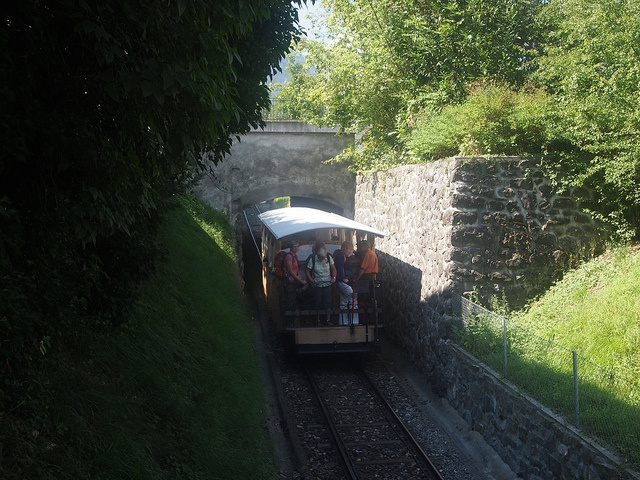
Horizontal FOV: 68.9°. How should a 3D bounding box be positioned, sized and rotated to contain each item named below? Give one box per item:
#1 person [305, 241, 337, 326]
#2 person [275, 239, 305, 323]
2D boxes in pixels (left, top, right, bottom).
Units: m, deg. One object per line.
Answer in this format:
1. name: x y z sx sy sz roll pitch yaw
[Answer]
1. person: 0.038 1.095 11.688 0.645 2.167 0.673 -4 18 -2
2. person: -0.778 1.081 12.189 0.631 2.088 1.282 -1 9 -9
